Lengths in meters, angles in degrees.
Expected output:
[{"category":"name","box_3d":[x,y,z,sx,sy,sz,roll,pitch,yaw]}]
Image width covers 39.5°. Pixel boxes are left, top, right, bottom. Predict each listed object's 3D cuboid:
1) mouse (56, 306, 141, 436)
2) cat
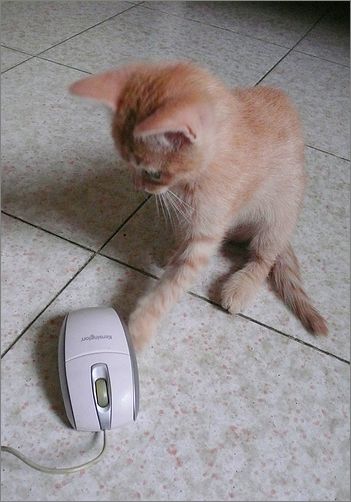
[{"category":"mouse","box_3d":[-0.139,0.214,0.871,0.137,0.059,0.218,-9,62,-17]},{"category":"cat","box_3d":[0.124,-0.127,1.117,0.548,0.641,0.425,-30,50,-29]}]
